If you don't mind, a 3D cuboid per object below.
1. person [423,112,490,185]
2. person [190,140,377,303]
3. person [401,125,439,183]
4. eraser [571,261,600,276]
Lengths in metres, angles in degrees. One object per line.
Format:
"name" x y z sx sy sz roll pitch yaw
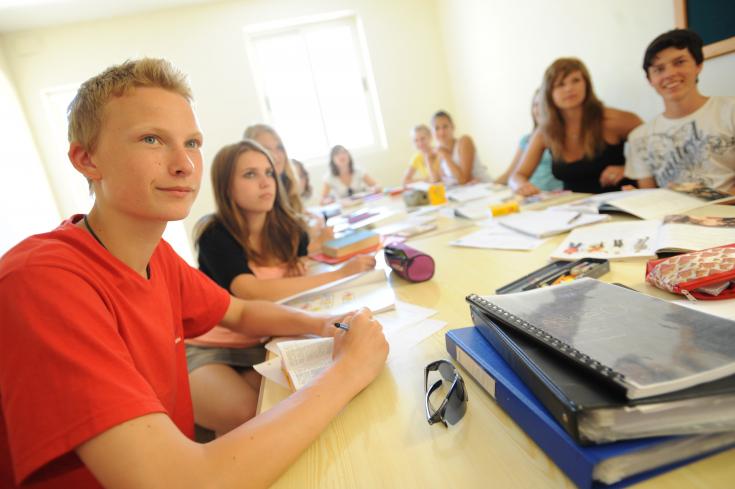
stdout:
"person" 0.709 -0.793 3.934 0.435 0.566 0.765 -9 15 1
"person" -0.387 -0.071 2.056 0.907 0.754 0.586 -6 0 15
"person" 0.515 -0.869 4.741 0.372 0.685 0.340 -2 15 -3
"eraser" 0.587 0.068 1.330 0.047 0.012 0.049 -5 21 46
